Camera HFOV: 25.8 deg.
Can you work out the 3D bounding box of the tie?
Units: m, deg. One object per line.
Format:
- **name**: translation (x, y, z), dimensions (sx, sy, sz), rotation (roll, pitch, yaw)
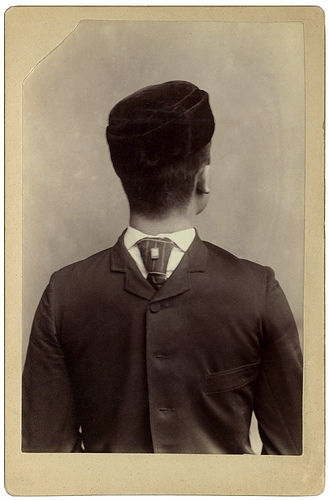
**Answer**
- **tie**: translation (-0.035, 0.057, 2.669), dimensions (0.205, 0.221, 0.039), rotation (0, -28, -1)
